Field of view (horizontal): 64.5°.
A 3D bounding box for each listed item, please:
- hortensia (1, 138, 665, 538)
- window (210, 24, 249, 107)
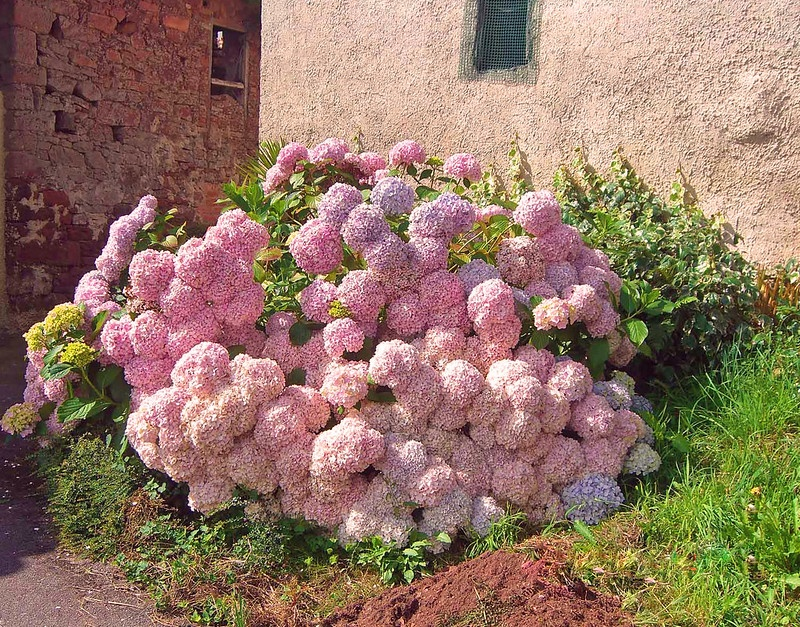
[{"bbox_3d":[-0.434,0.534,3.986,2.808,1.605,2.300,4,54,-6],"label":"hortensia"},{"bbox_3d":[-3.112,-4.533,11.508,0.651,1.241,0.955,-5,34,-2],"label":"window"}]
